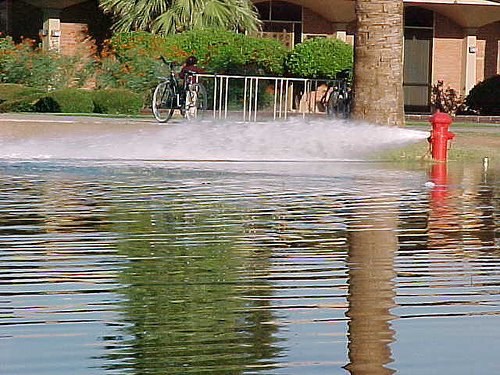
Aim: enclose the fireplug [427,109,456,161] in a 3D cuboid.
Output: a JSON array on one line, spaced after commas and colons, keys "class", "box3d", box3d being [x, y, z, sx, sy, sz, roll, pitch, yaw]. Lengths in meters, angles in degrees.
[{"class": "fireplug", "box3d": [2.719, -0.742, 16.101, 0.350, 0.685, 0.665, 2, 12, 8]}]
